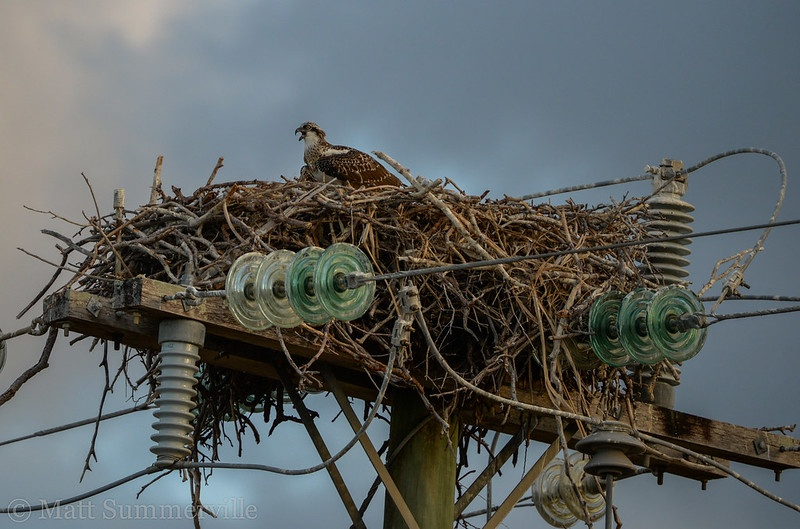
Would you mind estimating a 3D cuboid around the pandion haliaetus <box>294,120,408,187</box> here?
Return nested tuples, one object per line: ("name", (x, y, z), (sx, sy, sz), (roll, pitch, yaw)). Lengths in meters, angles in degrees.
("pandion haliaetus", (-0.386, -0.827, 15.986), (1.048, 0.513, 0.691), (3, -93, -19))
